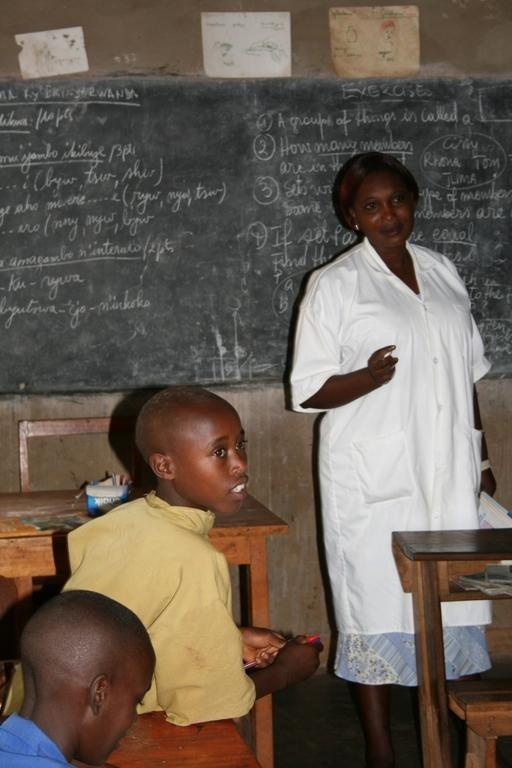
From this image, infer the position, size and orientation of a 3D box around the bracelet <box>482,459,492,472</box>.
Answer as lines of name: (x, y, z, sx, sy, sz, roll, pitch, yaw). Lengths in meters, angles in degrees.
bracelet: (0.636, 0.228, 2.263, 0.037, 0.026, 0.035, 0, -9, -2)

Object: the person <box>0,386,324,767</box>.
person: (-0.164, 0.248, 1.549, 0.576, 0.700, 0.524, -3, 9, -18)
